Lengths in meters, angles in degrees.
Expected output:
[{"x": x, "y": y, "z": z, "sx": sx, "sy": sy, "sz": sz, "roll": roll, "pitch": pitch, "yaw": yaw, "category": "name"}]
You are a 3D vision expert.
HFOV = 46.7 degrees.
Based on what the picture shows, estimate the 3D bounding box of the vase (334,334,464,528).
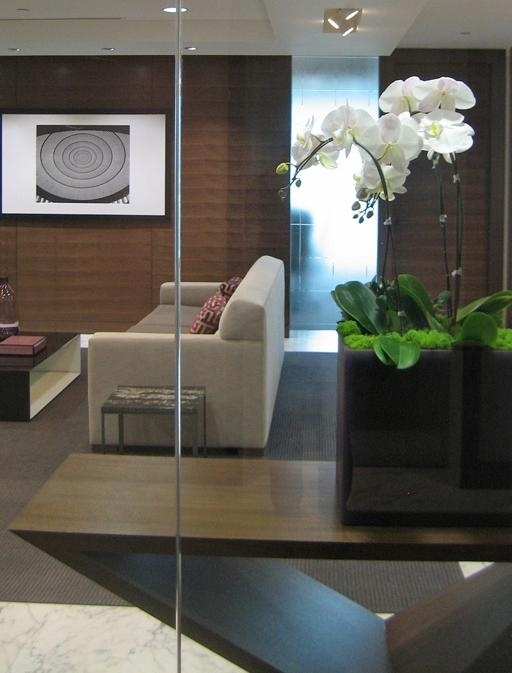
[{"x": 0.150, "y": 0.099, "z": 0.877, "sx": 0.219, "sy": 0.300, "sz": 0.217, "roll": -1, "pitch": 17, "yaw": 4, "category": "vase"}]

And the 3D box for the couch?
[{"x": -0.097, "y": 0.027, "z": 0.948, "sx": 0.263, "sy": 0.227, "sz": 0.389, "roll": 3, "pitch": 15, "yaw": 7, "category": "couch"}]

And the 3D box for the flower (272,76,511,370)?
[{"x": 0.168, "y": -0.141, "z": 0.710, "sx": 0.266, "sy": 0.341, "sz": 0.124, "roll": -1, "pitch": 9, "yaw": -11, "category": "flower"}]
